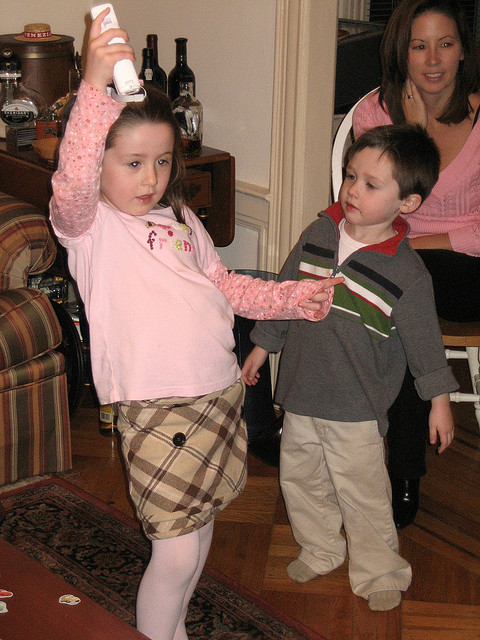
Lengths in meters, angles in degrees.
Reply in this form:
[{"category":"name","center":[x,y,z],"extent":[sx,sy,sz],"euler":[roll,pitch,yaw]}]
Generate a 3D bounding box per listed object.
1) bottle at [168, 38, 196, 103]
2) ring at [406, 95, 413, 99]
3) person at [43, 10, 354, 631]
[{"category":"bottle","center":[-0.199,-0.845,2.057],"extent":[0.089,0.262,0.091],"euler":[2,37,-1]},{"category":"ring","center":[0.440,-0.583,1.541],"extent":[0.011,0.004,0.012],"euler":[1,5,0]},{"category":"person","center":[-0.092,0.067,0.966],"extent":[0.418,0.955,0.286],"euler":[-13,18,-44]}]
